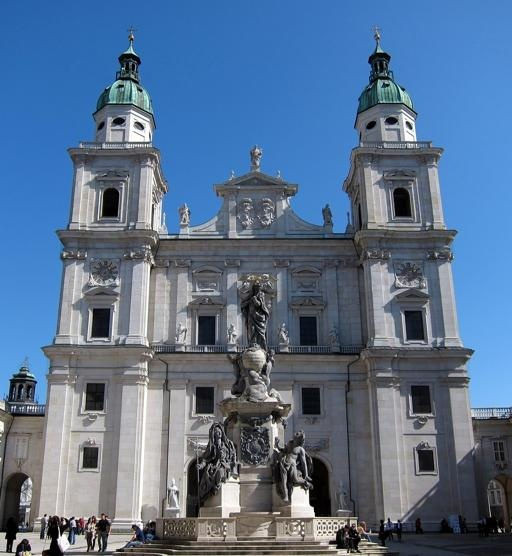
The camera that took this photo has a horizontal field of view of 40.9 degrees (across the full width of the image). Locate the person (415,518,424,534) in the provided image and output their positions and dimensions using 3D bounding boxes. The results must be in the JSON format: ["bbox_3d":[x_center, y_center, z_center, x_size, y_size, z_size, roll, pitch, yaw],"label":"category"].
[{"bbox_3d":[8.717,13.465,37.101,0.457,0.875,1.109,-9,-2,11],"label":"person"}]

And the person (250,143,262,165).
[{"bbox_3d":[-0.077,-8.189,45.786,0.697,1.425,2.620,-9,-2,2],"label":"person"}]

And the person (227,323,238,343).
[{"bbox_3d":[-1.502,3.541,41.857,0.519,1.186,0.682,-9,-1,6],"label":"person"}]

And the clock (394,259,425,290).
[{"bbox_3d":[9.449,-0.100,42.808,2.239,2.155,0.163,0,-35,-2],"label":"clock"}]

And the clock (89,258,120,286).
[{"bbox_3d":[-9.433,-0.256,42.627,1.883,1.730,0.146,2,-33,-2],"label":"clock"}]

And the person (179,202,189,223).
[{"bbox_3d":[-4.789,-4.083,45.518,0.680,1.413,0.986,-9,-1,-8],"label":"person"}]

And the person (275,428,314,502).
[{"bbox_3d":[1.097,5.755,20.952,1.288,2.135,0.652,5,-38,2],"label":"person"}]

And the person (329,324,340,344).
[{"bbox_3d":[4.745,3.672,42.521,0.627,1.360,0.714,-9,-1,4],"label":"person"}]
